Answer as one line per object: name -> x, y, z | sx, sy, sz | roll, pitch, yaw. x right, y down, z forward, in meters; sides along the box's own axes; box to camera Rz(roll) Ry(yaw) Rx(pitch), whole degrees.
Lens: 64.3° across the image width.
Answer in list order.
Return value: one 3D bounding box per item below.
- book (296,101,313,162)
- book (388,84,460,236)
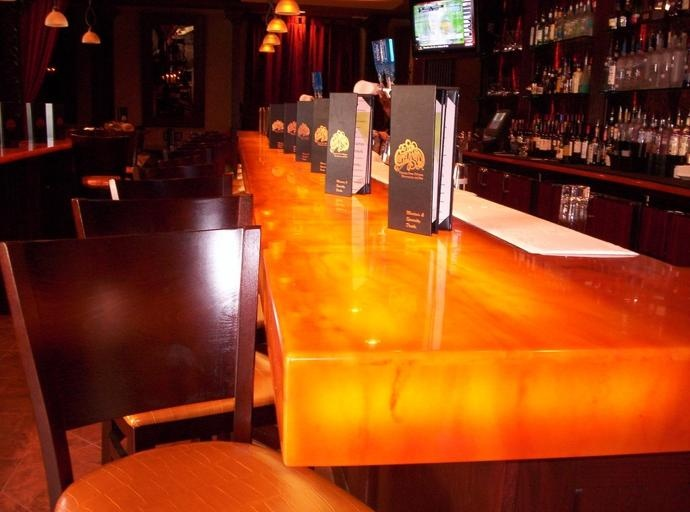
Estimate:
book -> -0.240, -0.716, 3.122 | 0.056, 0.251, 0.261 | 2, 17, -11
book -> 0.188, -0.254, 1.428 | 0.096, 0.352, 0.171 | -12, 16, -38
